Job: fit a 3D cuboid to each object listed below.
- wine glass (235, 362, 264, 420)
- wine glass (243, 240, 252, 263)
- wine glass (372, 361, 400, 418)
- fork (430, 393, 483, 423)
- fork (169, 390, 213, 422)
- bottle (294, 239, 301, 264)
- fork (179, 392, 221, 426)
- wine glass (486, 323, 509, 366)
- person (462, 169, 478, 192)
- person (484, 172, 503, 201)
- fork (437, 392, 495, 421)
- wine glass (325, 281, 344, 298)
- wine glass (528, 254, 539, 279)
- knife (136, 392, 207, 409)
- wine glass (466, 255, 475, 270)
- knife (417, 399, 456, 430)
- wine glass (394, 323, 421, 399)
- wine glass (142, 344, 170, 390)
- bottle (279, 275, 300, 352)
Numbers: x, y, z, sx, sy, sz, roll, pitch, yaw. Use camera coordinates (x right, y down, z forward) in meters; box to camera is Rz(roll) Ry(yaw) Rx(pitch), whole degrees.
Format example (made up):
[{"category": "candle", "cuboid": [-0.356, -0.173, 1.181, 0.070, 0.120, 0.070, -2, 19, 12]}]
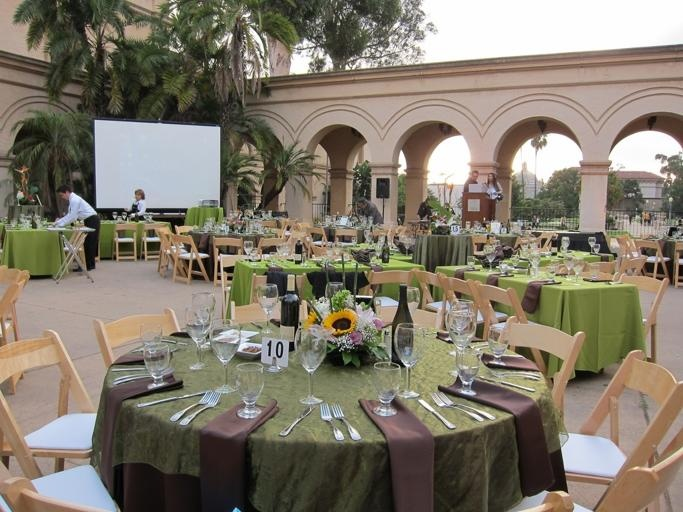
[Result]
[{"category": "wine glass", "cuboid": [-0.397, 0.571, 2.178, 0.105, 0.205, 0.227, 1, 4, -12]}, {"category": "wine glass", "cuboid": [-1.258, -0.071, 6.840, 0.108, 0.278, 0.386, 1, 4, -9]}, {"category": "wine glass", "cuboid": [0.193, 0.572, 2.182, 0.105, 0.208, 0.148, 2, 4, 4]}, {"category": "fork", "cuboid": [0.510, 0.649, 2.232, 0.068, 0.043, 0.261, -19, 16, -24]}, {"category": "fork", "cuboid": [-0.657, 0.646, 2.185, 0.043, 0.047, 0.291, 4, 10, 9]}, {"category": "bottle", "cuboid": [-0.556, -0.037, 6.457, 0.085, 0.284, 0.134, 0, 4, -11]}, {"category": "fork", "cuboid": [-0.607, 0.666, 2.193, 0.042, 0.037, 0.234, -10, 10, 16]}, {"category": "wine glass", "cuboid": [0.876, 0.473, 2.811, 0.099, 0.203, 0.316, 3, 4, 20]}, {"category": "person", "cuboid": [3.341, -1.917, 13.060, 0.319, 0.680, 1.429, 2, 3, 13]}, {"category": "person", "cuboid": [3.833, -1.744, 12.645, 0.375, 0.738, 1.050, 2, 4, 16]}, {"category": "fork", "cuboid": [0.540, 0.651, 2.204, 0.078, 0.045, 0.308, -13, 16, -28]}, {"category": "wine glass", "cuboid": [-0.042, 0.190, 2.872, 0.100, 0.121, 0.112, 1, 6, 3]}, {"category": "wine glass", "cuboid": [2.155, 0.117, 5.602, 0.088, 0.239, 0.287, 3, 4, 21]}, {"category": "knife", "cuboid": [-0.772, 0.656, 2.264, 0.029, 0.013, 0.234, 13, 9, 34]}, {"category": "wine glass", "cuboid": [1.625, 0.092, 6.291, 0.091, 0.149, 0.286, 2, 3, 15]}, {"category": "knife", "cuboid": [0.408, 0.667, 2.152, 0.039, 0.026, 0.303, -11, 10, -8]}, {"category": "wine glass", "cuboid": [0.334, 0.490, 2.458, 0.130, 0.322, 0.330, 2, 4, 12]}, {"category": "wine glass", "cuboid": [-0.902, 0.523, 2.447, 0.105, 0.178, 0.242, 0, 4, -23]}, {"category": "bottle", "cuboid": [-0.286, 0.317, 2.802, 0.109, 0.446, 0.347, 1, 4, -6]}]
